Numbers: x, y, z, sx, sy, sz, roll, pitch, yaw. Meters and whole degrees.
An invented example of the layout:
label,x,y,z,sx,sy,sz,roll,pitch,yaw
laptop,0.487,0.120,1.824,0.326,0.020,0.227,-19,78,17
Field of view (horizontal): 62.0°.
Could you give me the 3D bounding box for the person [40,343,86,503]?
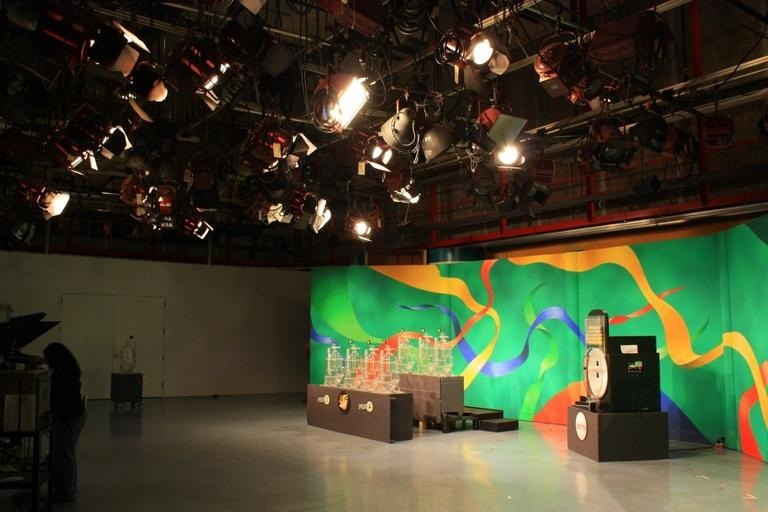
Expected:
label,x,y,z,sx,sy,sz,roll,pitch,yaw
person,-4.440,2.283,8.817,0.558,2.122,0.197,8,-13,-31
